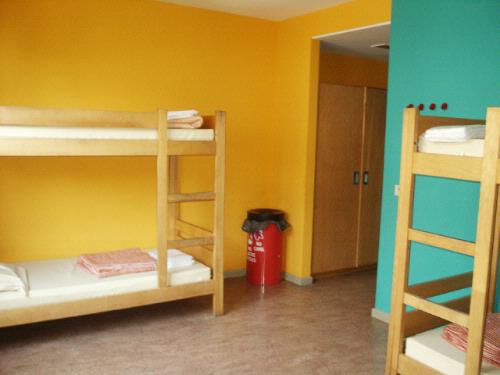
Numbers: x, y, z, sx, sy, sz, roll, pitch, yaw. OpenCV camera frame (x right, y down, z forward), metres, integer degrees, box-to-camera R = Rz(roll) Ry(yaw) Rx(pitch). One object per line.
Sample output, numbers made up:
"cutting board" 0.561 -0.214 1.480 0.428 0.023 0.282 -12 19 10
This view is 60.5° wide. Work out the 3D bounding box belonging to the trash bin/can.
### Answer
"trash bin/can" 0.193 0.733 5.511 0.862 1.019 0.843 0 5 -2
